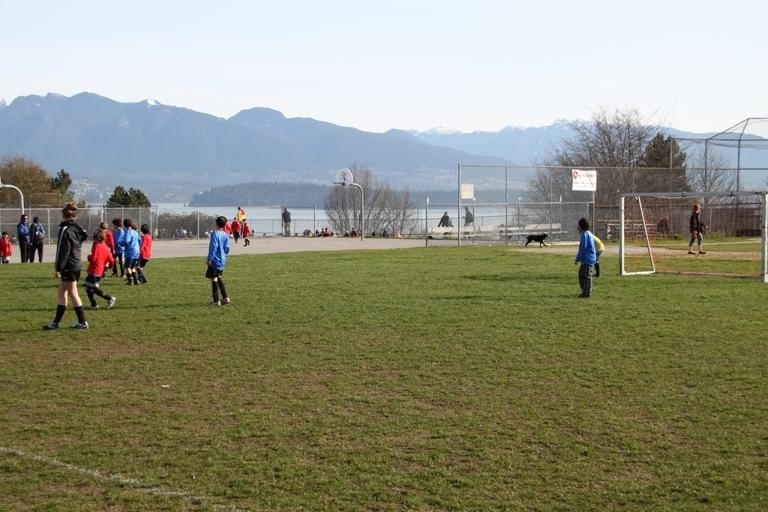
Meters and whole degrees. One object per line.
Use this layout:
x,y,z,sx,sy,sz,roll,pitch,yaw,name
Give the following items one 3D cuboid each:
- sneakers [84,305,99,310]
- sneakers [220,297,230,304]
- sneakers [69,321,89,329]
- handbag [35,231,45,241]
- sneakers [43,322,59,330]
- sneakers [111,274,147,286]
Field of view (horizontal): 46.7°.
-6.757,1.187,20.545,0.341,0.145,0.128,3,-1,13,sneakers
-3.772,1.059,21.196,0.169,0.153,0.138,6,-3,24,sneakers
-6.397,1.457,18.748,0.377,0.166,0.130,2,1,-6,sneakers
-12.288,-0.731,31.905,0.330,0.345,0.252,0,4,-4,handbag
-7.002,1.463,18.714,0.388,0.175,0.143,2,3,17,sneakers
-7.084,0.670,24.789,0.659,0.277,0.202,11,-3,1,sneakers
